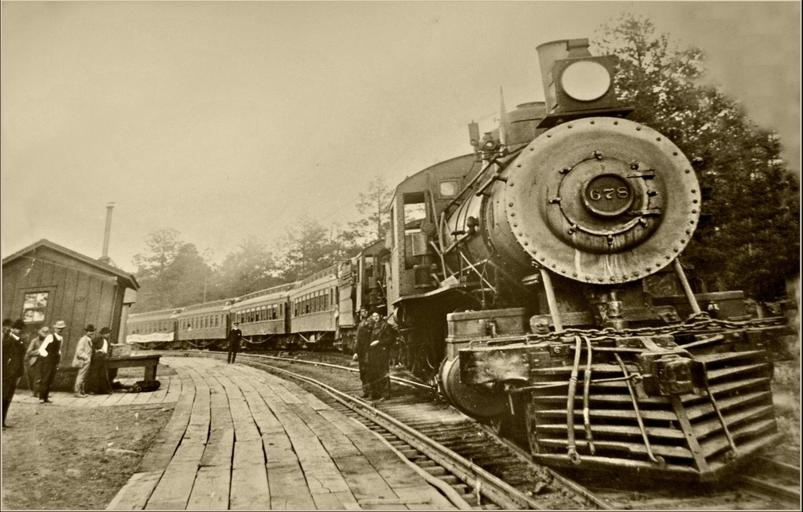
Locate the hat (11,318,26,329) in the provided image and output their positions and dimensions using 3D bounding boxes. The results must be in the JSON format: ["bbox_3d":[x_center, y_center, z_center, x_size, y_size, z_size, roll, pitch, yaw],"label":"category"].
[{"bbox_3d":[-7.784,1.371,10.780,0.346,0.134,0.386,11,-22,-43],"label":"hat"}]

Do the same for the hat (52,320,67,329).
[{"bbox_3d":[-7.690,1.516,12.007,0.284,0.100,0.302,2,-19,-15],"label":"hat"}]

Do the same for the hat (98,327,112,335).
[{"bbox_3d":[-7.319,1.870,13.149,0.202,0.071,0.190,-12,-43,3],"label":"hat"}]

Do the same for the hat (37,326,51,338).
[{"bbox_3d":[-8.269,1.746,12.264,0.356,0.106,0.270,-18,-30,31],"label":"hat"}]
